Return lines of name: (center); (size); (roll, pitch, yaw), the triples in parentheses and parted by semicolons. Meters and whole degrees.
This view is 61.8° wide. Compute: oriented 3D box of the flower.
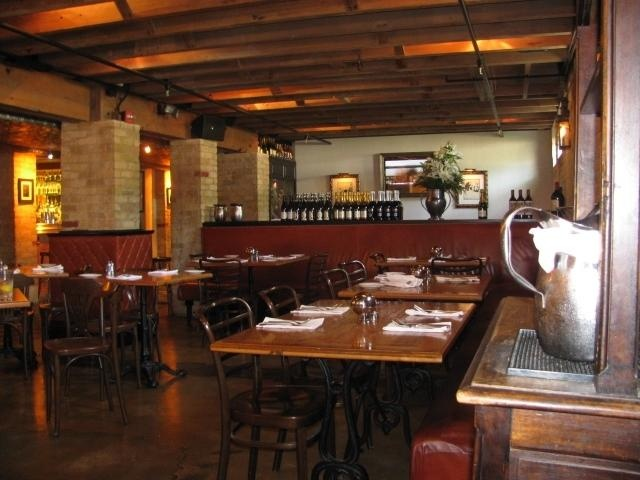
flower: (1.675, -0.922, 6.580); (0.664, 0.733, 0.686); (12, 45, 30)

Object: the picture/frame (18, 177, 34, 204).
picture/frame: (-5.408, -0.897, 9.811); (0.151, 0.487, 0.460); (-1, 3, 7)

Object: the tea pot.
tea pot: (0.613, 0.110, 1.433); (0.400, 0.387, 0.226); (-5, 7, -32)

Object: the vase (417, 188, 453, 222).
vase: (1.449, -0.452, 6.725); (0.417, 0.359, 0.247); (0, 8, 11)

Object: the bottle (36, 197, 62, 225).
bottle: (-6.386, -0.718, 12.514); (0.486, 0.618, 0.194); (-2, 3, -15)

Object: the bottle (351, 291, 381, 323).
bottle: (0.229, 0.345, 2.722); (0.137, 0.148, 0.134); (-1, -5, 20)

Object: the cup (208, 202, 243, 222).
cup: (-1.475, -0.426, 8.179); (0.441, 0.170, 0.148); (1, 7, 6)
